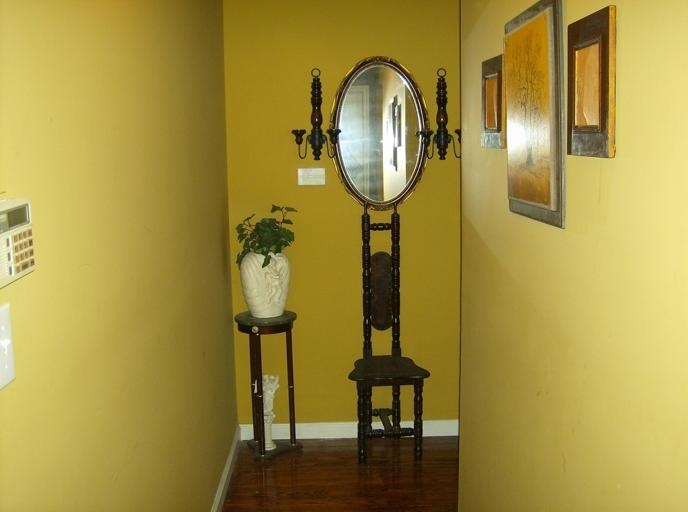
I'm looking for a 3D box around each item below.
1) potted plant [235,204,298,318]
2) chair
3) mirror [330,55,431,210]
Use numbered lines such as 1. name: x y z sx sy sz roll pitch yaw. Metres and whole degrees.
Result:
1. potted plant: -0.435 0.020 3.278 0.315 0.597 0.463 -1 7 -10
2. chair: 0.267 0.452 3.350 0.415 1.433 0.566 1 7 8
3. mirror: 0.203 -0.747 3.393 0.738 1.255 0.052 0 8 1
